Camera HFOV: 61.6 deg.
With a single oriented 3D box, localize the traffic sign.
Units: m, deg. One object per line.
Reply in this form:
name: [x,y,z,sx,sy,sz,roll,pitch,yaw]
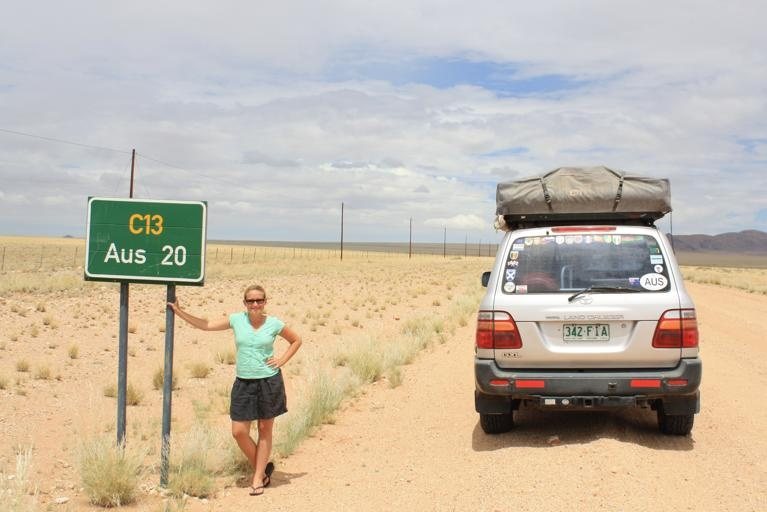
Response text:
traffic sign: [-3.530,-0.240,9.743,1.627,1.003,0.064,0,1,8]
